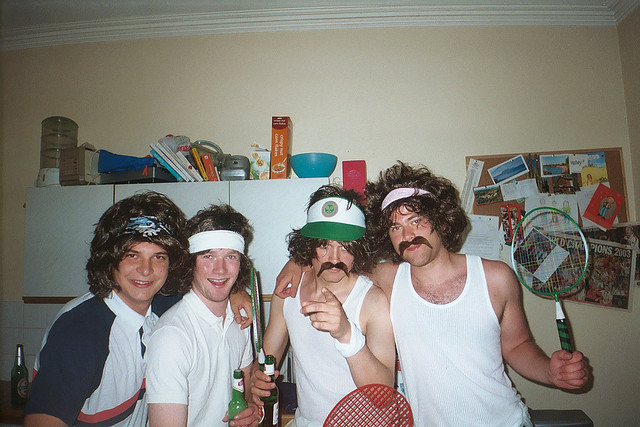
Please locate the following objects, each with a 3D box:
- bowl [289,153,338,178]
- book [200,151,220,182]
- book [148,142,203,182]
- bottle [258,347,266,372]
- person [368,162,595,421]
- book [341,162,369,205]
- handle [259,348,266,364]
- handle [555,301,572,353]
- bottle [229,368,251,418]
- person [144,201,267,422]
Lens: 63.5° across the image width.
[{"bbox_3d":[-0.045,-0.338,3.951,0.228,0.105,0.228,-1,-4,0],"label":"bowl"},{"bbox_3d":[-0.840,-0.356,3.957,0.084,0.303,0.038,-15,-3,-9],"label":"book"},{"bbox_3d":[-1.106,-0.400,3.937,0.091,0.316,0.310,-44,7,0],"label":"book"},{"bbox_3d":[-0.368,0.920,3.265,0.043,0.151,0.101,-4,0,-17],"label":"bottle"},{"bbox_3d":[0.992,0.650,3.868,1.120,1.875,0.619,-29,-6,12],"label":"person"},{"bbox_3d":[0.276,-0.219,4.129,0.214,0.381,0.222,0,-18,0],"label":"book"},{"bbox_3d":[-0.366,0.896,3.254,0.034,0.096,0.082,-4,0,-7],"label":"handle"},{"bbox_3d":[1.541,0.710,3.269,0.075,0.312,0.177,-4,0,24],"label":"handle"},{"bbox_3d":[-0.499,1.126,3.340,0.100,0.313,0.293,-4,0,-1],"label":"bottle"},{"bbox_3d":[-0.766,0.672,3.357,0.734,1.447,0.462,-4,0,-18],"label":"person"}]
